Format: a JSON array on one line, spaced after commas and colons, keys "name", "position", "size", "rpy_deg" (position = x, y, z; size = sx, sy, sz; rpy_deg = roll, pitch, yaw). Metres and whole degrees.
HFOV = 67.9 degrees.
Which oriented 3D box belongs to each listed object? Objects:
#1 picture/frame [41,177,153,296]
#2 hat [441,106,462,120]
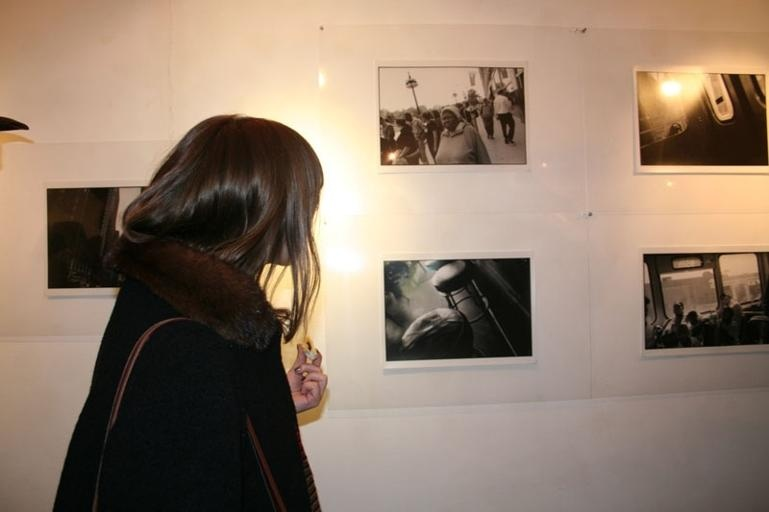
[{"name": "picture/frame", "position": [-1.228, -0.094, 2.430], "size": [0.463, 0.545, 0.035], "rpy_deg": [-4, -2, -4]}, {"name": "hat", "position": [0.308, -0.675, 2.640], "size": [0.052, 0.078, 0.058], "rpy_deg": [-6, -29, -27]}]
